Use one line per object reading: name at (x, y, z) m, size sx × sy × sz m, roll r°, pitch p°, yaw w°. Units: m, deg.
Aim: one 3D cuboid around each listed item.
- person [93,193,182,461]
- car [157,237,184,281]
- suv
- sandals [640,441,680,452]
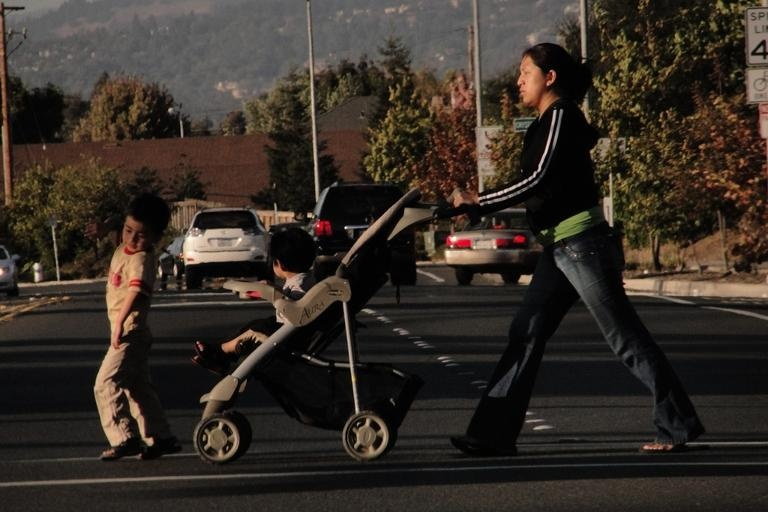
person at (-2.395, 0.660, 11.433) m, size 0.809 × 2.474 × 0.813 m, roll -5°, pitch 8°, yaw -11°
car at (-5.918, 0.036, 33.408) m, size 0.971 × 0.824 × 1.680 m, roll -1°, pitch 6°, yaw -19°
suv at (-3.648, -0.241, 27.251) m, size 1.471 × 1.292 × 3.013 m, roll -1°, pitch 5°, yaw -5°
sandals at (2.514, 1.737, 10.850) m, size 0.397 × 0.124 × 0.090 m, roll 0°, pitch 8°, yaw 19°
